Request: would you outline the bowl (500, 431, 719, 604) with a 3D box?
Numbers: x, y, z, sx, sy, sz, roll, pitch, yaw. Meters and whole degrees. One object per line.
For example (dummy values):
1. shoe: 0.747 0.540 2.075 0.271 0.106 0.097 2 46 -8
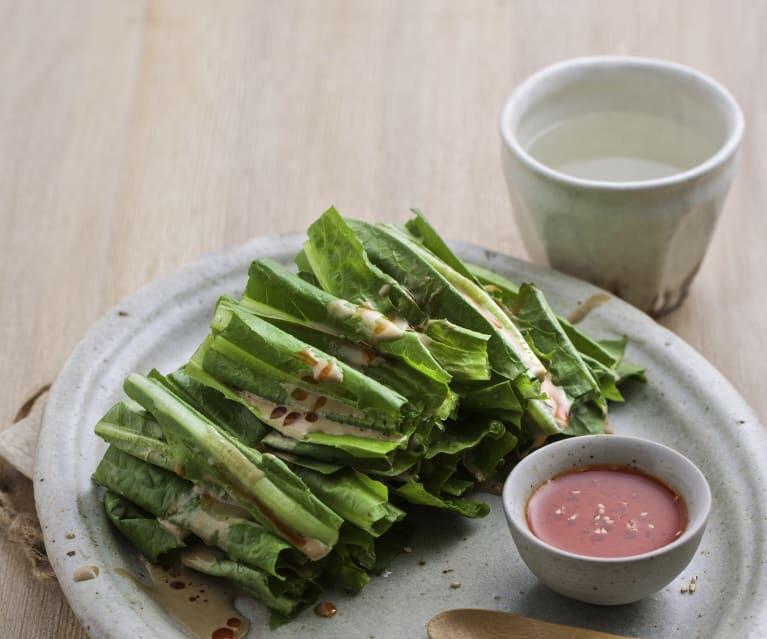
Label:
1. bowl: 0.463 0.427 1.770 0.401 0.199 0.391 -7 30 4
